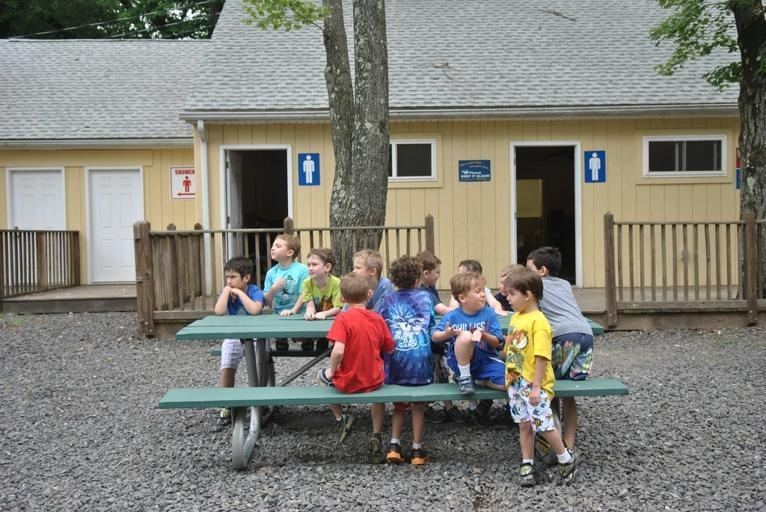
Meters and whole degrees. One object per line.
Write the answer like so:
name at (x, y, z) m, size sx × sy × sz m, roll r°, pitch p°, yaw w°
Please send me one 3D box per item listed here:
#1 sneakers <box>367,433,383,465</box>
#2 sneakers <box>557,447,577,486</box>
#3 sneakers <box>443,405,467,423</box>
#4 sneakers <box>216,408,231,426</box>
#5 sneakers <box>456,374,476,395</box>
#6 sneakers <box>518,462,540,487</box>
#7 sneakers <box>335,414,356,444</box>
sneakers at (-0.088, 2.082, 8.891) m, size 0.138 × 0.330 × 0.147 m, roll -2°, pitch 2°, yaw 2°
sneakers at (1.957, 2.191, 8.655) m, size 0.142 × 0.197 × 0.436 m, roll -34°, pitch 10°, yaw 28°
sneakers at (0.870, 1.843, 9.634) m, size 0.307 × 0.134 × 0.139 m, roll -2°, pitch 2°, yaw 23°
sneakers at (-1.883, 1.885, 9.701) m, size 0.108 × 0.114 × 0.245 m, roll 1°, pitch 4°, yaw -8°
sneakers at (0.878, 1.374, 8.700) m, size 0.177 × 0.203 × 0.139 m, roll -1°, pitch 4°, yaw 17°
sneakers at (1.532, 2.266, 8.585) m, size 0.214 × 0.238 × 0.205 m, roll -2°, pitch 3°, yaw 0°
sneakers at (-0.459, 1.971, 9.399) m, size 0.142 × 0.125 × 0.362 m, roll 7°, pitch 39°, yaw 6°
